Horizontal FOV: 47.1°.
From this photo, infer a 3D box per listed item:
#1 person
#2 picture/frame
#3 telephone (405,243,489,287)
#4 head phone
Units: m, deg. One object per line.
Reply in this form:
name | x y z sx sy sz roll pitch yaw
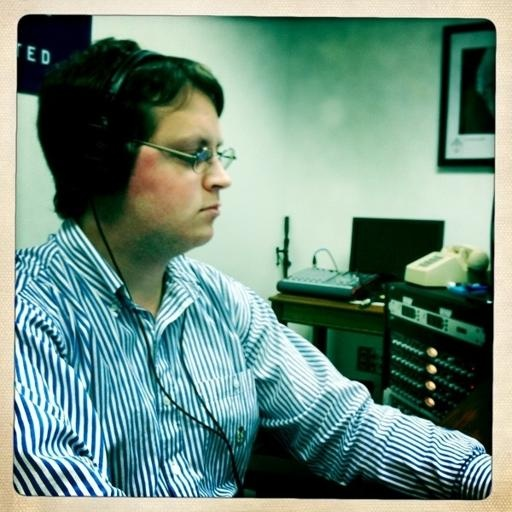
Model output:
person | 0.051 0.112 1.405 0.765 1.171 0.846 -5 -1 15
picture/frame | 0.413 -0.364 1.130 0.127 0.142 0.005 -15 20 -22
telephone | 0.414 -0.001 1.284 0.100 0.055 0.111 -7 4 -8
head phone | -0.255 -0.234 1.078 0.084 0.264 0.184 3 17 8
